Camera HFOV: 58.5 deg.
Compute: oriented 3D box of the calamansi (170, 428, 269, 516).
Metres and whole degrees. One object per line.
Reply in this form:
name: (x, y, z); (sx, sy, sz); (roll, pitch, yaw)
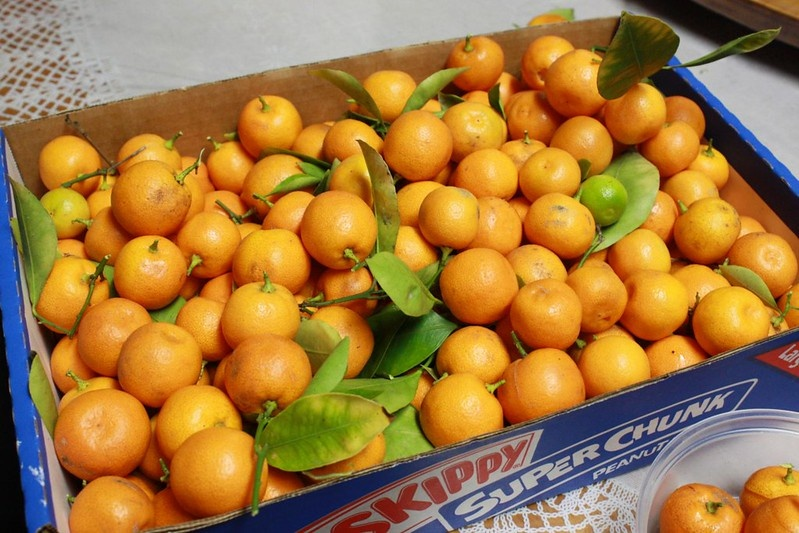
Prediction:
calamansi: (-0.337, 0.373, 1.298); (0.156, 0.082, 0.140); (-8, 60, -10)
